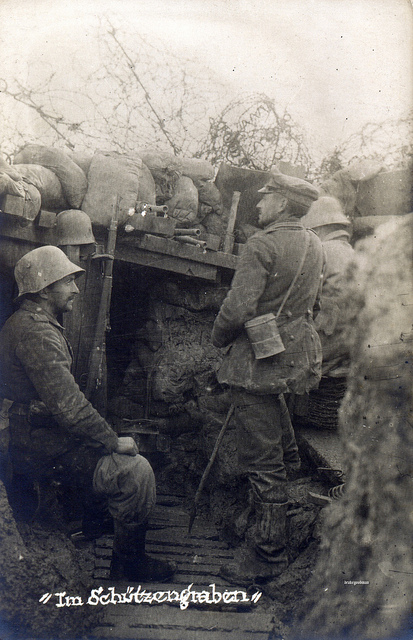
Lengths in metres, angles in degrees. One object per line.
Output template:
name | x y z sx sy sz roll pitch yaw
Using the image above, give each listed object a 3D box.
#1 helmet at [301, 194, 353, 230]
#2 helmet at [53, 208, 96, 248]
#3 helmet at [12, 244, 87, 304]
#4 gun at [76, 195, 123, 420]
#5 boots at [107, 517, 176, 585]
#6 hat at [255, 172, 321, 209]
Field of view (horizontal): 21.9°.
helmet | 0.550 -0.512 5.143 0.174 0.116 0.163 1 -1 -23
helmet | -0.617 -0.416 4.817 0.137 0.151 0.170 0 4 -1
helmet | -0.735 -0.235 4.884 0.319 0.219 0.239 -9 7 11
gun | -0.510 -0.097 4.933 0.046 1.043 0.186 2 2 -44
boots | -0.314 1.057 5.011 0.221 0.226 0.123 -4 7 -24
hat | 0.373 -0.611 4.919 0.189 0.083 0.167 21 15 17
